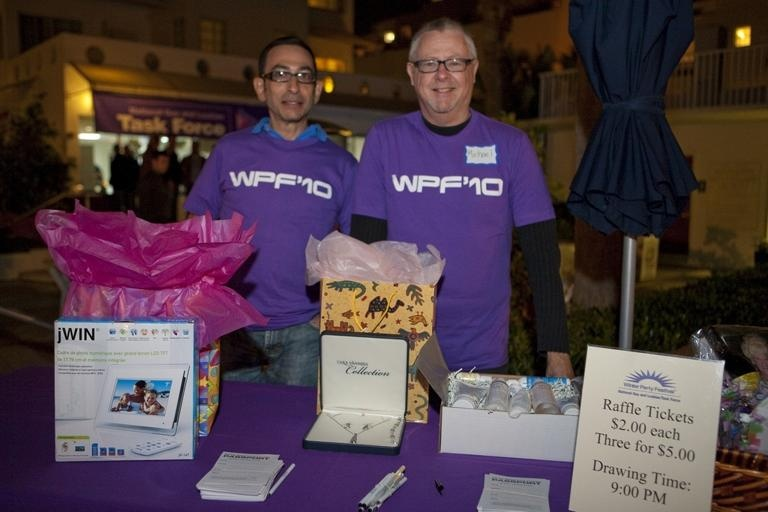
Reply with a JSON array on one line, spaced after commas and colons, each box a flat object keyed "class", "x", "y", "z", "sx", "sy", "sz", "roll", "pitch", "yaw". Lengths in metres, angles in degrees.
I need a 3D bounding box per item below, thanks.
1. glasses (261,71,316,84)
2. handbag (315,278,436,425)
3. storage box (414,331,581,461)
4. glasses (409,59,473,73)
[{"class": "glasses", "x": -0.454, "y": -0.869, "z": 3.862, "sx": 0.249, "sy": 0.066, "sz": 0.067, "roll": 1, "pitch": -1, "yaw": -13}, {"class": "handbag", "x": -0.004, "y": 0.350, "z": 3.128, "sx": 0.448, "sy": 0.527, "sz": 0.460, "roll": 3, "pitch": 1, "yaw": 1}, {"class": "storage box", "x": 0.411, "y": 0.542, "z": 3.017, "sx": 0.603, "sy": 0.349, "sz": 0.386, "roll": 1, "pitch": 16, "yaw": 7}, {"class": "glasses", "x": 0.256, "y": -0.823, "z": 3.439, "sx": 0.254, "sy": 0.069, "sz": 0.047, "roll": 1, "pitch": -1, "yaw": 6}]
